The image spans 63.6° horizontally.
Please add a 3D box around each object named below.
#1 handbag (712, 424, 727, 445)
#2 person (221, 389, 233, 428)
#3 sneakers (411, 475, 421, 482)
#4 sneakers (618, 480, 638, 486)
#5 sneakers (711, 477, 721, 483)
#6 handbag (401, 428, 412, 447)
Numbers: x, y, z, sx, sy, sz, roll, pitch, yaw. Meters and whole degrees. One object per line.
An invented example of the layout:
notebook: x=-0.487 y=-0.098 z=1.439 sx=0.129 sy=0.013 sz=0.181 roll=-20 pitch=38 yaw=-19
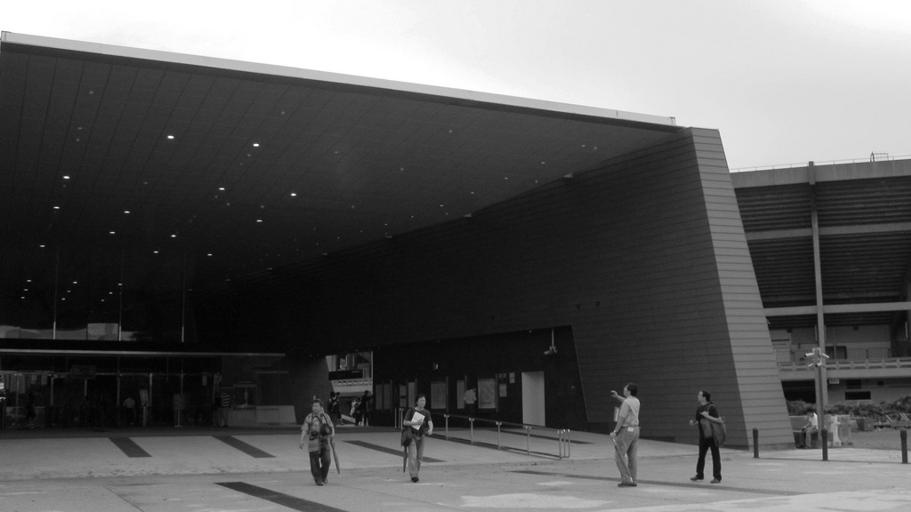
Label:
handbag: x=8.599 y=5.792 z=23.915 sx=0.254 sy=0.627 sz=0.843 roll=-8 pitch=-14 yaw=29
person: x=-12.906 y=8.505 z=41.244 sx=0.630 sy=1.955 sz=0.301 roll=-7 pitch=-13 yaw=23
sneakers: x=-1.368 y=7.526 z=24.740 sx=0.150 sy=0.155 sz=0.386 roll=4 pitch=-21 yaw=-21
sneakers: x=5.359 y=7.120 z=23.125 sx=0.682 sy=0.243 sz=0.236 roll=2 pitch=-8 yaw=6
sneakers: x=8.327 y=7.161 z=23.493 sx=0.285 sy=0.151 sz=0.425 roll=-5 pitch=-12 yaw=17
handbag: x=-1.671 y=6.121 z=24.913 sx=0.356 sy=0.626 sz=0.258 roll=-10 pitch=-15 yaw=34
